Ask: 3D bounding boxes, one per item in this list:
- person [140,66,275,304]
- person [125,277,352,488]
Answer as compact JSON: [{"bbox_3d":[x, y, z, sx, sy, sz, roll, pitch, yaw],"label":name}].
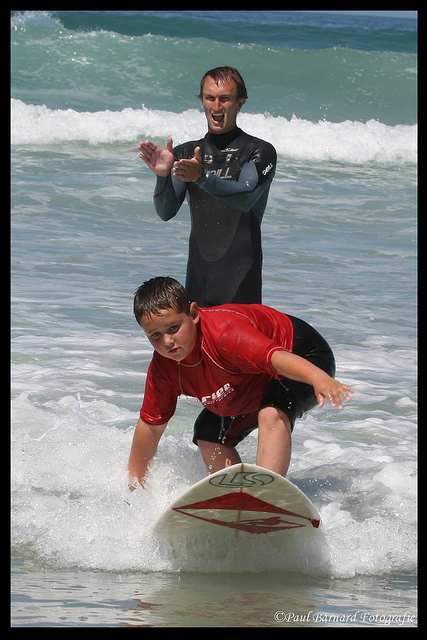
[{"bbox_3d":[-0.022,-0.644,3.971,0.641,1.193,0.754,7,14,3],"label":"person"},{"bbox_3d":[0.036,0.391,3.353,0.875,1.056,0.929,7,13,2],"label":"person"}]
